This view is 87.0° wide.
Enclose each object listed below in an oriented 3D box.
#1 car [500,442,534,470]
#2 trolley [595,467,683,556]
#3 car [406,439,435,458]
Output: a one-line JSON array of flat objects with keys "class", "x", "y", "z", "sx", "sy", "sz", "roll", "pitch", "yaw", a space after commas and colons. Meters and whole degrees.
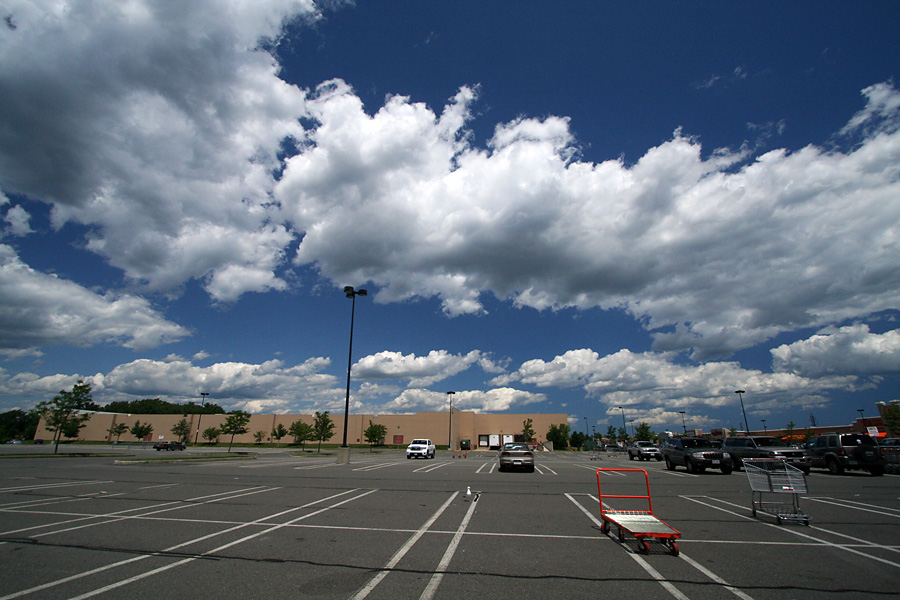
[{"class": "car", "x": 3.864, "y": 9.065, "z": 27.452, "sx": 1.817, "sy": 1.571, "sz": 1.935, "roll": -3, "pitch": -20, "yaw": 3}, {"class": "trolley", "x": 4.854, "y": 5.324, "z": 12.226, "sx": 1.416, "sy": 1.638, "sz": 2.770, "roll": 2, "pitch": -15, "yaw": 1}, {"class": "car", "x": -2.688, "y": 14.477, "z": 46.306, "sx": 1.749, "sy": 1.261, "sz": 3.720, "roll": -2, "pitch": -22, "yaw": 5}]
